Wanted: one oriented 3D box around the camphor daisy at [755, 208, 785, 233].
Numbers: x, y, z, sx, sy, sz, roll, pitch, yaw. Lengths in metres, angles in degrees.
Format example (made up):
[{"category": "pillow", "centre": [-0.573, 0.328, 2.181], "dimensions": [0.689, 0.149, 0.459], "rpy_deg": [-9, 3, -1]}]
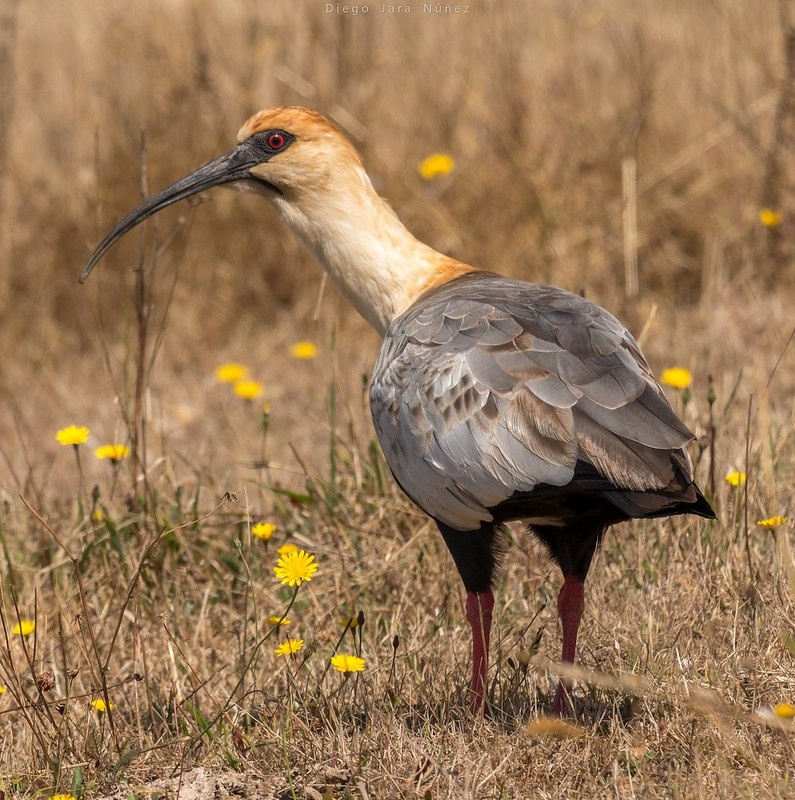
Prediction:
[{"category": "camphor daisy", "centre": [1.961, -0.946, 7.037], "dimensions": [0.133, 0.064, 0.133], "rpy_deg": [29, -43, -15]}]
